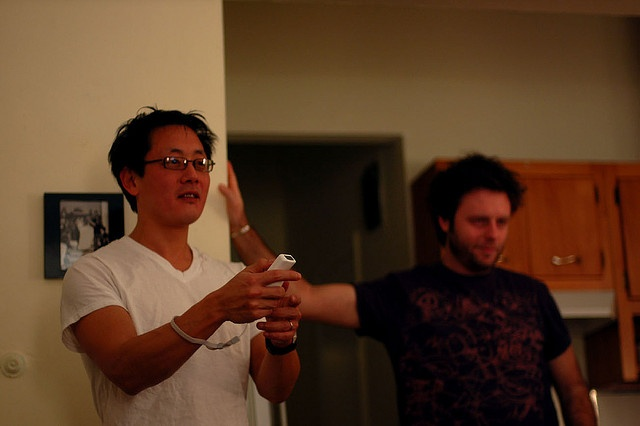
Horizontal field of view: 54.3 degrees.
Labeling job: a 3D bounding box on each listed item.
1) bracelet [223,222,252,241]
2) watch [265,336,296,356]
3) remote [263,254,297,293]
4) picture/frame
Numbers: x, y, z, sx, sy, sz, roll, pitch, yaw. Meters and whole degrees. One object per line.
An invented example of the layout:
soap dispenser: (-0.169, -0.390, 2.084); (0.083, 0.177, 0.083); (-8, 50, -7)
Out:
bracelet: (-0.330, 0.065, 2.551); (0.053, 0.074, 0.070); (21, -4, -28)
watch: (-0.135, 0.423, 2.028); (0.070, 0.031, 0.064); (4, 4, 10)
remote: (-0.115, 0.169, 1.854); (0.076, 0.076, 0.063); (-1, 0, -5)
picture/frame: (-0.876, 0.092, 2.293); (0.308, 0.363, 0.035); (-1, -7, -6)
